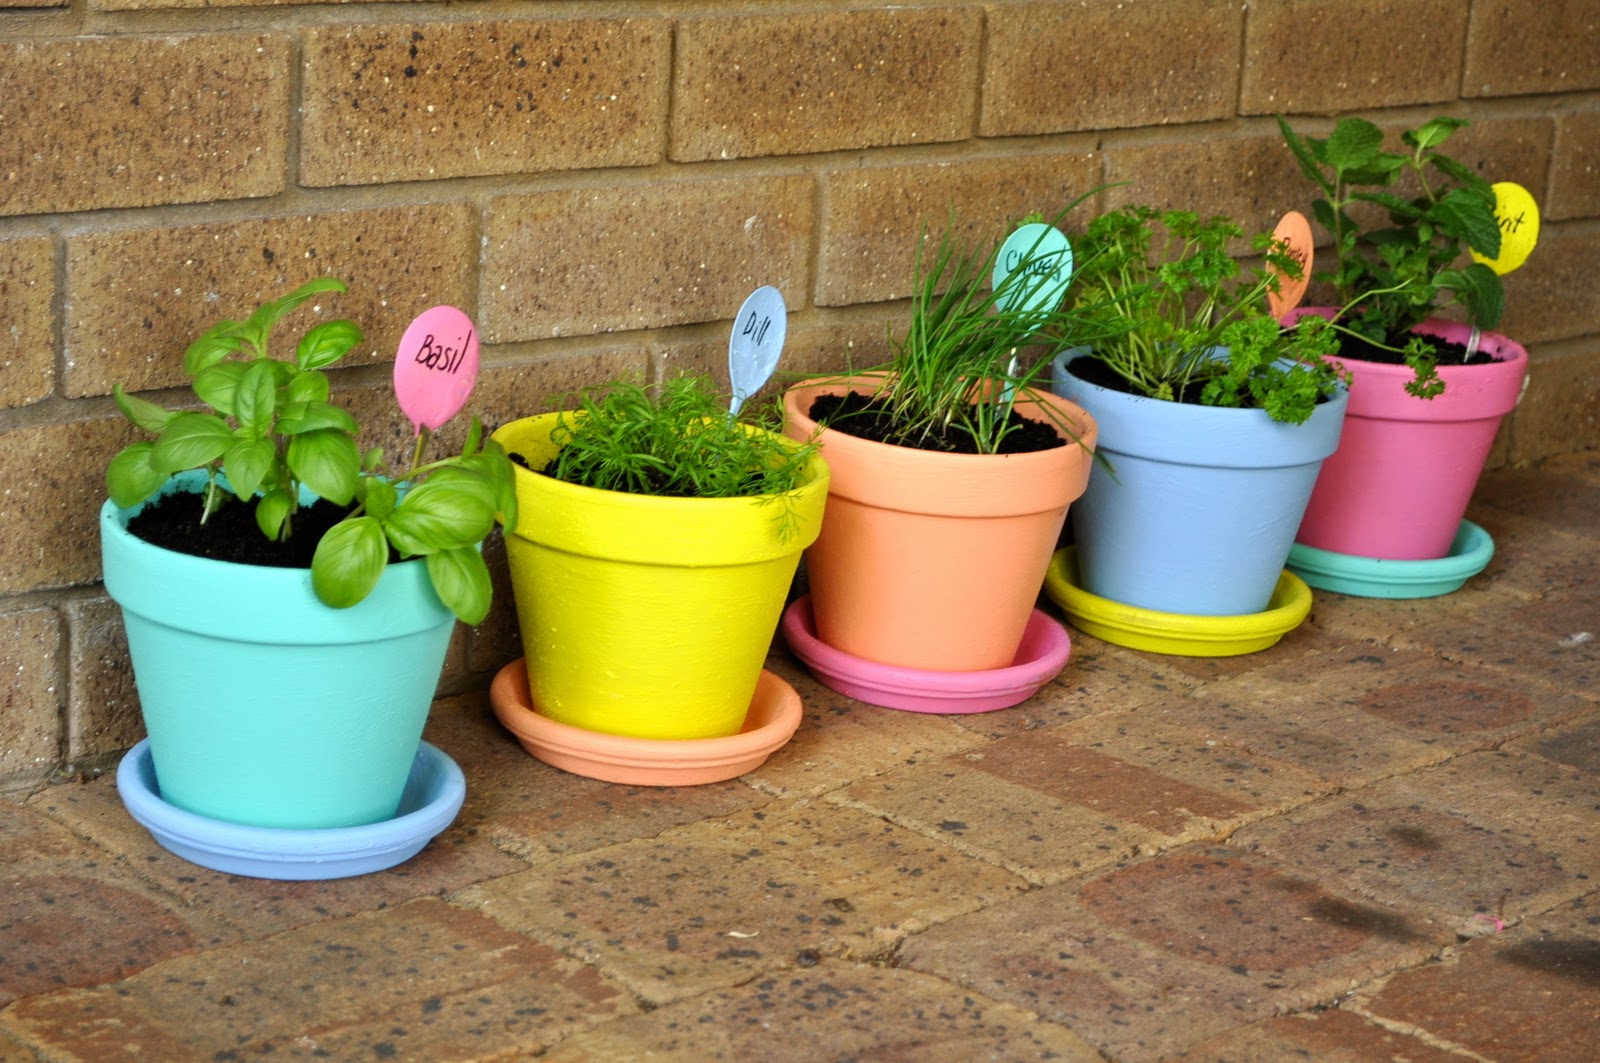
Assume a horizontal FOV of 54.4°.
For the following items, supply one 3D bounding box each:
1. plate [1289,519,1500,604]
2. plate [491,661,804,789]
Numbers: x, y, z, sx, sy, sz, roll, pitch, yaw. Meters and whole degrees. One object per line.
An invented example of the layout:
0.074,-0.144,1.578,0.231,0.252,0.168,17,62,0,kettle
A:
1.080,0.059,2.921,0.399,0.072,0.359,2,11,10,plate
-0.221,0.275,2.187,0.436,0.093,0.232,1,20,-4,plate
